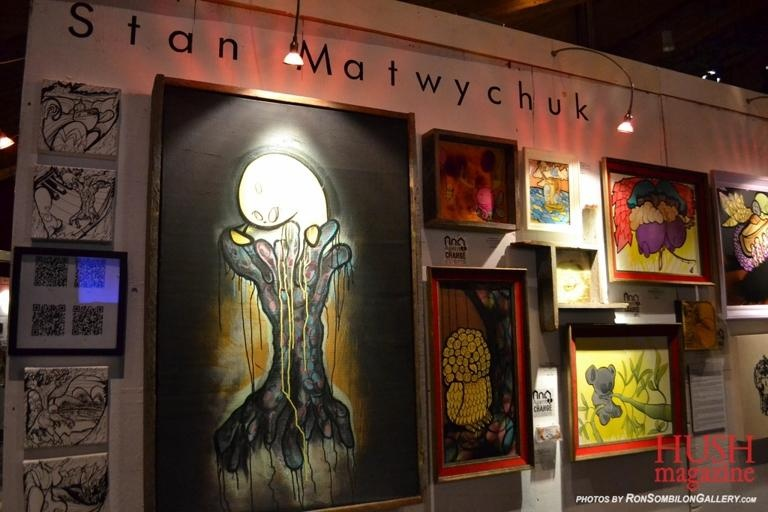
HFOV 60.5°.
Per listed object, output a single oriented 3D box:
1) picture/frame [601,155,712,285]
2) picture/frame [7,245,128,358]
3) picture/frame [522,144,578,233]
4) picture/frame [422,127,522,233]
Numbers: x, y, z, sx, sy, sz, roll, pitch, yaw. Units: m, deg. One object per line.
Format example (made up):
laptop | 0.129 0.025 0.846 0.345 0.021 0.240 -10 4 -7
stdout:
picture/frame | 1.872 -0.217 4.591 0.758 0.773 0.088 2 -4 -20
picture/frame | -1.695 0.254 3.490 0.493 0.612 0.042 1 -4 -10
picture/frame | 1.075 -0.414 4.312 0.470 0.631 0.042 4 -10 -29
picture/frame | 0.525 -0.450 4.100 0.522 0.576 0.164 4 -11 -23
